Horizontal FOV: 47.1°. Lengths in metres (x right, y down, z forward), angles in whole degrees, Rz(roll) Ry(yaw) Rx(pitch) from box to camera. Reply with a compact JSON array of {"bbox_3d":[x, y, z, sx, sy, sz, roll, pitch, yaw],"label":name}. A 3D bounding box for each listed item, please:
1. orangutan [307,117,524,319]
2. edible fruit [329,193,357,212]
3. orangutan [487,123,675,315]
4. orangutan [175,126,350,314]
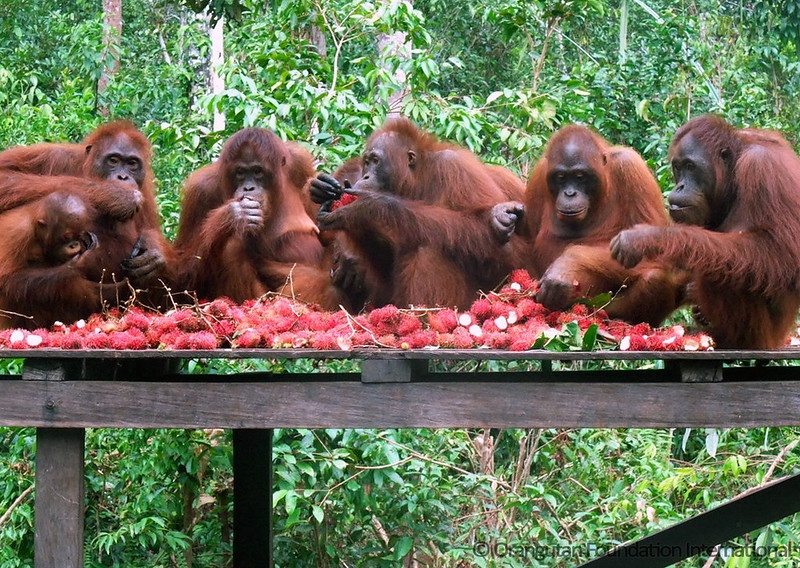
[{"bbox_3d":[0.187,-0.383,5.401,1.451,1.197,1.063,-8,21,-42],"label":"orangutan"},{"bbox_3d":[-0.299,-0.432,4.878,0.136,0.098,0.142,1,14,-5],"label":"edible fruit"},{"bbox_3d":[1.011,-0.269,4.968,0.867,1.124,0.856,6,16,28],"label":"orangutan"},{"bbox_3d":[-0.749,-0.323,5.134,0.983,1.314,0.688,-5,-17,-17],"label":"orangutan"}]
